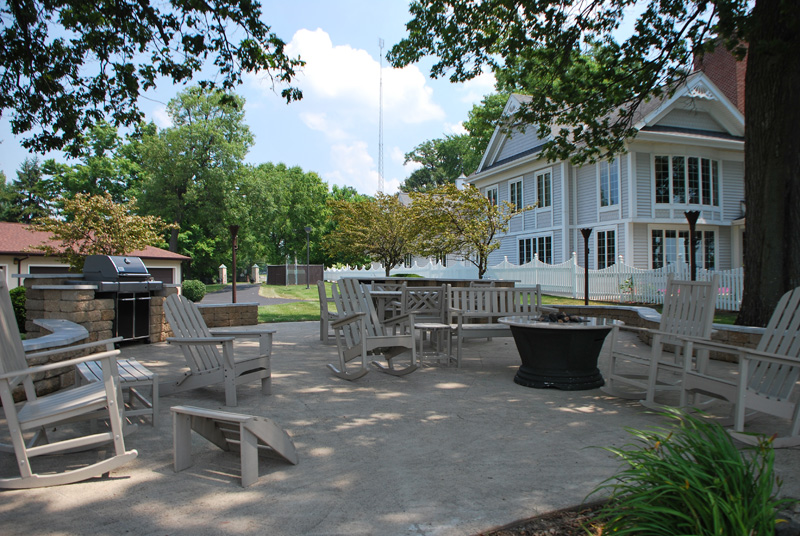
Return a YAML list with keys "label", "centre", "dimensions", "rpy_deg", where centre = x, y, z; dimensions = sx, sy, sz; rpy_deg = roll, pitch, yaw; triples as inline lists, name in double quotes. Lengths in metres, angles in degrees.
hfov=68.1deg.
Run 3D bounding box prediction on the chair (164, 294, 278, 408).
- label: "chair"
  centre: [-2.432, 1.107, 8.103]
  dimensions: [1.651, 1.371, 1.369]
  rpy_deg: [2, 1, 21]
